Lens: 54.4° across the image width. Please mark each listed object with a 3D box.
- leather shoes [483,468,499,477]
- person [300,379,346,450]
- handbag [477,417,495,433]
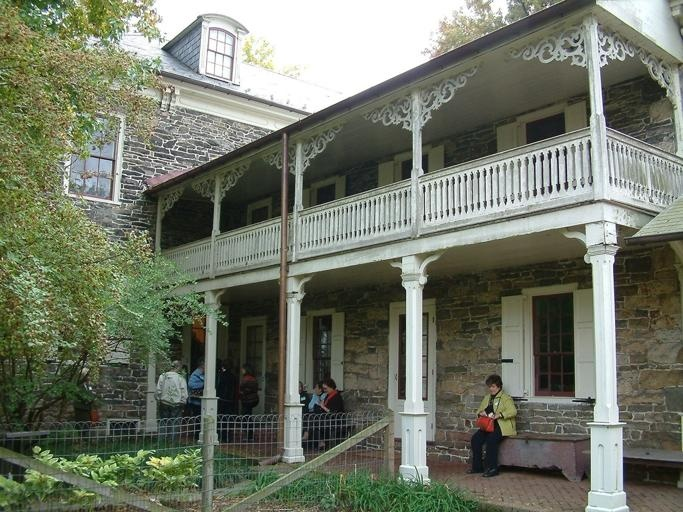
[{"bbox_3d":[2.450,3.526,10.873,0.296,0.126,0.103,4,-9,-20],"label":"leather shoes"},{"bbox_3d":[-0.285,3.332,14.022,0.935,1.392,1.364,10,-17,-43],"label":"person"},{"bbox_3d":[2.474,2.849,11.273,0.119,0.259,0.266,5,-10,-41],"label":"handbag"}]
